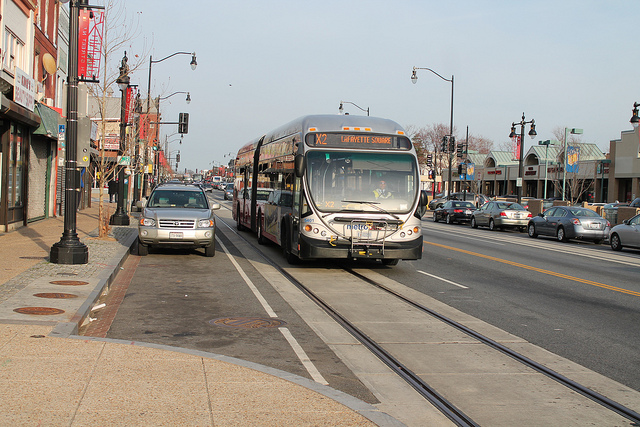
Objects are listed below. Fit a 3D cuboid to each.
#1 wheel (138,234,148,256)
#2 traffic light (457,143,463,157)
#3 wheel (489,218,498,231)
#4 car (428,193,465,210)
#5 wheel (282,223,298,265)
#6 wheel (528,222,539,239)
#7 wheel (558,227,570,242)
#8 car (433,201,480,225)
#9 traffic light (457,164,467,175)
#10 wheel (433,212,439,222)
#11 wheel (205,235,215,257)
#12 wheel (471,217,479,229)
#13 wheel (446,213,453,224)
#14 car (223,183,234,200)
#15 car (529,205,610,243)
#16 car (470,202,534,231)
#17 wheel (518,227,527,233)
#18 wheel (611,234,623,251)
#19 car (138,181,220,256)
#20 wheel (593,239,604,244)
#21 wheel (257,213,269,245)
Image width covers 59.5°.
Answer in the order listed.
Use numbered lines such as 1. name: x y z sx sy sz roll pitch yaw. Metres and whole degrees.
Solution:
1. wheel: -5.458 0.982 17.392 0.262 0.718 0.725 1 -1 0
2. traffic light: 13.679 -6.207 54.663 0.433 1.117 1.377 3 4 6
3. wheel: 10.997 0.670 35.325 0.248 0.742 0.750 1 7 -5
4. car: 12.517 -0.969 55.626 3.619 1.618 1.746 5 7 20
5. wheel: -0.840 0.868 16.358 0.377 1.132 1.147 1 8 -9
6. wheel: 11.719 0.927 30.626 0.268 0.806 0.817 1 5 -4
7. wheel: 12.319 1.021 28.236 0.250 0.747 0.755 2 3 -3
8. car: 9.848 -0.126 41.309 1.302 0.976 3.073 0 4 -12
9. traffic light: 13.857 -4.263 54.192 0.654 0.993 1.052 5 4 23
10. wheel: 8.996 0.284 43.090 0.257 0.745 0.753 0 3 -1
11. wheel: -3.431 1.006 17.577 0.235 0.689 0.724 1 1 -6
12. wheel: 10.310 0.606 37.071 0.252 0.744 0.753 -1 3 -3
13. wheel: 9.484 0.344 40.789 0.259 0.782 0.791 1 0 -7
14. car: -11.142 -2.752 70.735 2.135 1.760 4.902 0 -1 -10
15. car: 12.779 0.531 28.725 1.406 1.737 3.722 1 4 -25
16. car: 11.588 0.207 35.440 1.520 1.799 3.726 1 4 -30
17. wheel: 13.051 1.071 35.938 0.381 0.229 0.377 0 -1 0
18. wheel: 13.053 1.263 24.566 0.259 0.760 0.769 1 1 -8
19. car: -4.556 0.288 17.971 2.285 2.097 2.276 2 4 -17
20. wheel: 14.314 1.399 28.698 0.448 0.307 2.049 5 5 28
21. wheel: -2.112 0.580 21.225 0.373 1.020 1.027 1 -16 -6
